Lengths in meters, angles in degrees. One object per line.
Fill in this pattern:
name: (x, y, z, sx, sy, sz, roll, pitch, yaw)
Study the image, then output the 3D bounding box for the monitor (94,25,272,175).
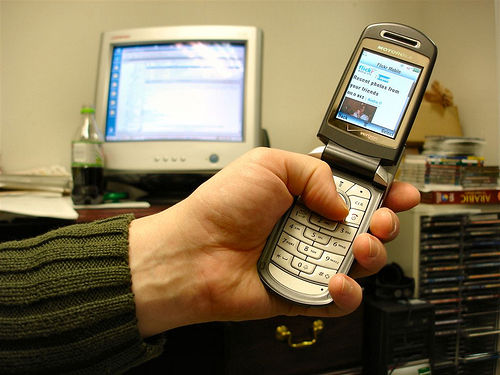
monitor: (-0.175, -0.215, 1.417, 0.636, 0.575, 0.357, -1, -7, 3)
